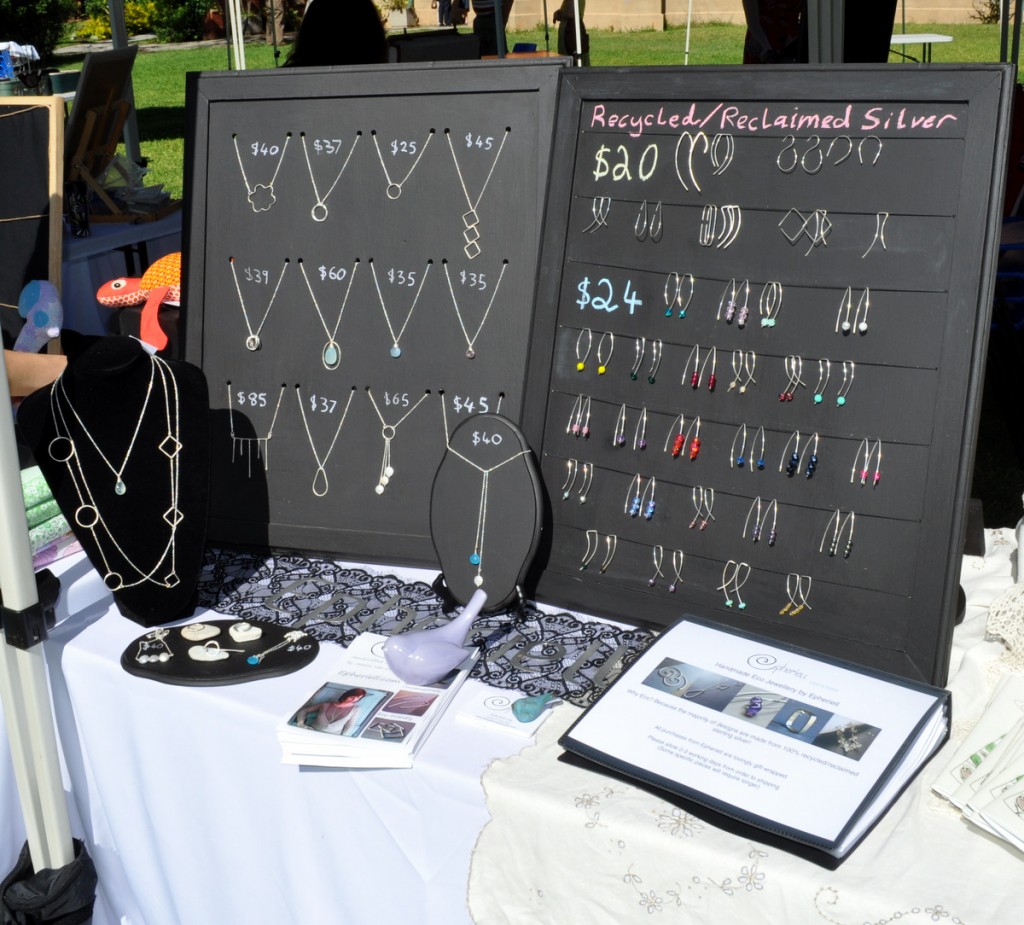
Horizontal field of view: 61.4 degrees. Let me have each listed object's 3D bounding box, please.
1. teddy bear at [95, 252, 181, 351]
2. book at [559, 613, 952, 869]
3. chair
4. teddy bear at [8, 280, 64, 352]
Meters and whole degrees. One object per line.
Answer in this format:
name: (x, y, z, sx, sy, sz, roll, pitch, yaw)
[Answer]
teddy bear: (-0.726, -0.339, 1.787, 0.235, 0.074, 0.236, -3, 35, -23)
book: (0.239, 0.256, 0.841, 0.330, 0.064, 0.224, 10, 22, 29)
chair: (-1.492, -1.210, 3.154, 0.278, 0.642, 0.853, -7, 19, -19)
teddy bear: (-0.731, -0.223, 1.323, 0.071, 0.116, 0.169, -11, 21, -30)
